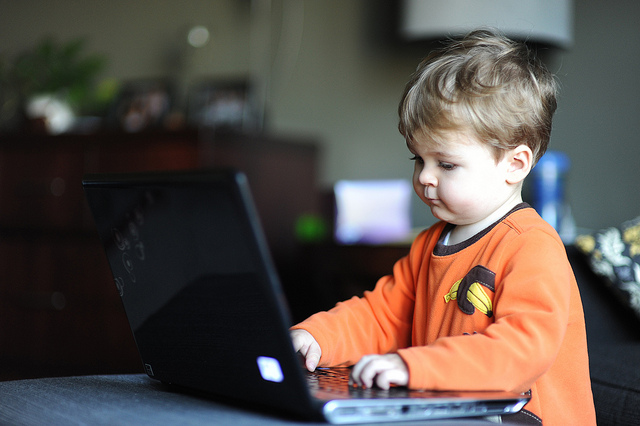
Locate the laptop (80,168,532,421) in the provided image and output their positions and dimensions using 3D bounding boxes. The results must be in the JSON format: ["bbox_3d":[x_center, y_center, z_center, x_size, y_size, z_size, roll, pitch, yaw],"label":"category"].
[{"bbox_3d":[-0.091,0.137,1.064,0.670,0.443,0.185,-1,8,24],"label":"laptop"}]
